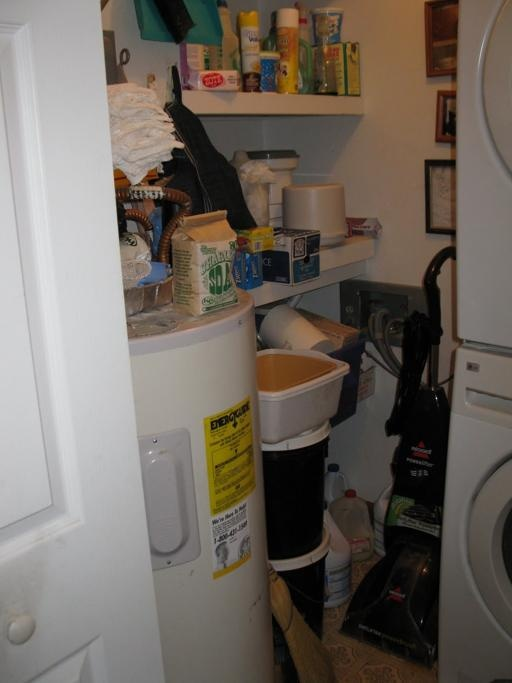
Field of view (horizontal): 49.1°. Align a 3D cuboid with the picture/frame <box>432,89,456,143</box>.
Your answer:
[{"bbox_3d":[0.578,-0.682,1.725,0.033,0.166,0.108,-6,16,-23],"label":"picture/frame"}]

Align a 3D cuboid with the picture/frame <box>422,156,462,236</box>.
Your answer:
[{"bbox_3d":[0.592,-0.460,1.802,0.105,0.223,0.016,-2,14,11],"label":"picture/frame"}]

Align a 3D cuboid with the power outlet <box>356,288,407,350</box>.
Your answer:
[{"bbox_3d":[0.409,-0.079,1.970,0.176,0.188,0.042,9,13,41],"label":"power outlet"}]

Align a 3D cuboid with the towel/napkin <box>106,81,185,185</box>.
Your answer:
[{"bbox_3d":[-0.199,-0.370,0.999,0.125,0.174,0.088,-9,13,-20],"label":"towel/napkin"}]

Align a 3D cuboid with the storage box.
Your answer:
[{"bbox_3d":[0.136,0.114,1.451,0.240,0.175,0.357,3,8,44],"label":"storage box"}]

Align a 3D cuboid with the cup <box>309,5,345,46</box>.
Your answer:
[{"bbox_3d":[0.223,-1.001,1.790,0.100,0.093,0.119,2,21,11],"label":"cup"}]

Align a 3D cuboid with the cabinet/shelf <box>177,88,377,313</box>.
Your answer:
[{"bbox_3d":[0.009,-0.459,1.823,0.479,0.606,0.782,6,17,36],"label":"cabinet/shelf"}]

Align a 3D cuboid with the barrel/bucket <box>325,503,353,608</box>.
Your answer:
[{"bbox_3d":[0.262,0.711,1.831,0.085,0.275,0.192,-2,13,10],"label":"barrel/bucket"}]
